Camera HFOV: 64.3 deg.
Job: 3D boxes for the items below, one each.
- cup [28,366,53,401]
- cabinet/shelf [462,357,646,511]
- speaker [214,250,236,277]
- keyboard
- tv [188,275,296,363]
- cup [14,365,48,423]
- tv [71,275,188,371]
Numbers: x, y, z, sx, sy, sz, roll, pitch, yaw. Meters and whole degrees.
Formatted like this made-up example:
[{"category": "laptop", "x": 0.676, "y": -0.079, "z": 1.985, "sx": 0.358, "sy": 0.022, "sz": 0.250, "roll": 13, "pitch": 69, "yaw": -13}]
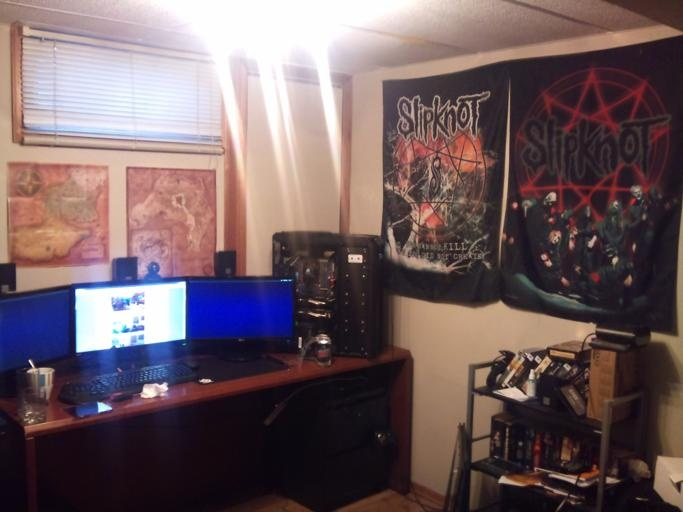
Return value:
[{"category": "cup", "x": -1.465, "y": 0.645, "z": 2.677, "sx": 0.130, "sy": 0.161, "sz": 0.123, "roll": -5, "pitch": -7, "yaw": -1}, {"category": "cabinet/shelf", "x": 1.183, "y": 0.975, "z": 2.967, "sx": 0.358, "sy": 1.045, "sz": 1.019, "roll": 2, "pitch": 0, "yaw": -39}, {"category": "speaker", "x": -0.762, "y": 0.051, "z": 3.614, "sx": 0.156, "sy": 0.162, "sz": 0.167, "roll": 16, "pitch": 14, "yaw": 36}, {"category": "keyboard", "x": -1.172, "y": 0.709, "z": 3.029, "sx": 0.696, "sy": 0.094, "sz": 0.306, "roll": -3, "pitch": 16, "yaw": -43}, {"category": "tv", "x": -0.655, "y": 0.395, "z": 3.539, "sx": 0.523, "sy": 0.398, "sz": 0.160, "roll": 0, "pitch": -1, "yaw": -11}, {"category": "cup", "x": -1.485, "y": 0.677, "z": 2.636, "sx": 0.131, "sy": 0.229, "sz": 0.190, "roll": 0, "pitch": 13, "yaw": -32}, {"category": "tv", "x": -1.288, "y": 0.401, "z": 3.256, "sx": 0.525, "sy": 0.369, "sz": 0.039, "roll": -3, "pitch": 4, "yaw": -36}]
